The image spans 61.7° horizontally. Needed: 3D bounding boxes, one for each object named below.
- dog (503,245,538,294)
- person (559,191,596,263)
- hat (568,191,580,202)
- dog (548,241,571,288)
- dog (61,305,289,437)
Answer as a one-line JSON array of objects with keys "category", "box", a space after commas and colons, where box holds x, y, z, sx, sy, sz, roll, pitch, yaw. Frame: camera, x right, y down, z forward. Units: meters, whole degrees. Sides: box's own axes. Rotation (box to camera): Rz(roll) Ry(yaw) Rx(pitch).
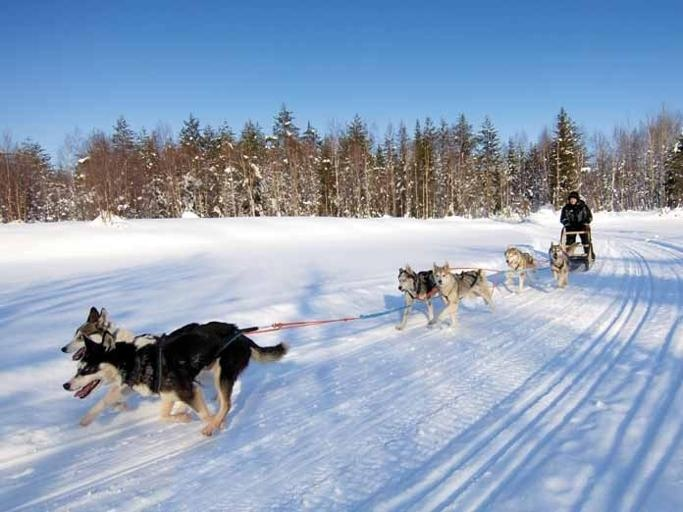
[{"category": "dog", "box": [3.923, 0.266, 12.588, 0.577, 0.962, 1.602, 4, 12, 20]}, {"category": "person", "box": [5.876, -0.684, 14.352, 0.675, 1.861, 0.649, -2, 25, 31]}, {"category": "hat", "box": [5.726, -1.441, 14.132, 0.217, 0.280, 0.314, -2, -3, 28]}, {"category": "dog", "box": [4.758, 0.220, 12.535, 0.417, 0.876, 1.193, 4, 12, 20]}, {"category": "dog", "box": [-2.302, 1.411, 7.310, 2.110, 1.527, 0.700, 0, 11, -2]}]
